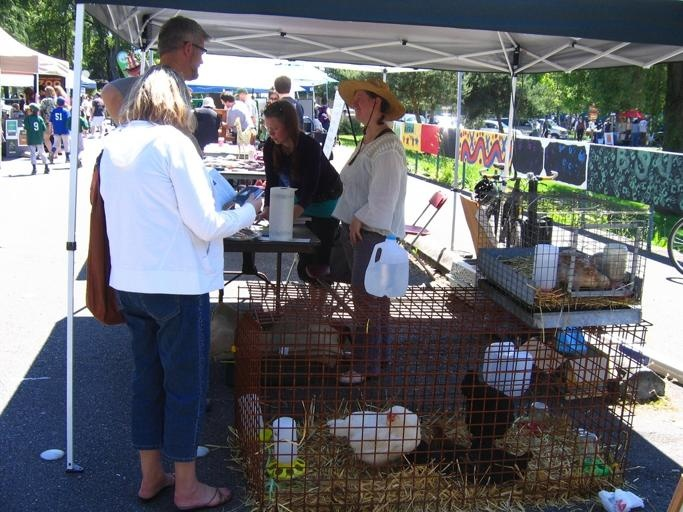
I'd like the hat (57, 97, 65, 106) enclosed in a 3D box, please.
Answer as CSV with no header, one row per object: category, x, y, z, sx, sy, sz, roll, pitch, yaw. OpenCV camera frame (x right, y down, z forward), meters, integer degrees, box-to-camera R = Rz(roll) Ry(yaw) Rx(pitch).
hat,-7.746,-4.325,17.715,0.204,0.243,0.223,-8,24,-22

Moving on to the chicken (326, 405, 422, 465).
chicken,0.210,1.145,4.001,0.486,0.263,0.380,-9,42,0

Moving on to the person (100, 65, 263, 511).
person,-0.965,0.237,3.666,0.772,2.607,0.479,0,4,-9

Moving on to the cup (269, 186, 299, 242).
cup,-0.426,-0.303,4.620,0.165,0.387,0.216,0,5,-10

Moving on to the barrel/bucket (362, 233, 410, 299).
barrel/bucket,0.324,0.077,4.411,0.296,0.407,0.304,1,5,0
